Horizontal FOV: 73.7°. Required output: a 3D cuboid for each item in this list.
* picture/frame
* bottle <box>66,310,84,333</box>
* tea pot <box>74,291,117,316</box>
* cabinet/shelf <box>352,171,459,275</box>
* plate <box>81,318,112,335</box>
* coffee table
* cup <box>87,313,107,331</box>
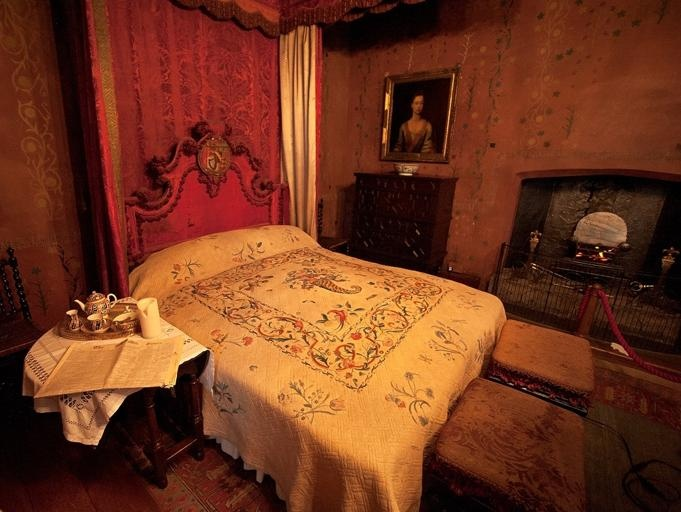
[{"bbox_3d":[0.958,-1.674,5.272,0.993,1.121,0.113,17,25,33],"label":"picture/frame"},{"bbox_3d":[-1.783,0.445,3.061,0.085,0.136,0.096,-11,11,12],"label":"bottle"},{"bbox_3d":[-1.674,0.327,3.166,0.286,0.206,0.198,-3,11,-36],"label":"tea pot"},{"bbox_3d":[0.764,-0.372,5.068,0.911,0.953,0.362,14,24,33],"label":"cabinet/shelf"},{"bbox_3d":[-1.630,0.469,3.041,0.126,0.057,0.128,19,27,33],"label":"plate"},{"bbox_3d":[-1.442,0.906,3.047,1.107,1.215,0.699,-3,21,-18],"label":"coffee table"},{"bbox_3d":[-1.623,0.447,3.046,0.101,0.108,0.131,-9,33,-37],"label":"cup"}]
